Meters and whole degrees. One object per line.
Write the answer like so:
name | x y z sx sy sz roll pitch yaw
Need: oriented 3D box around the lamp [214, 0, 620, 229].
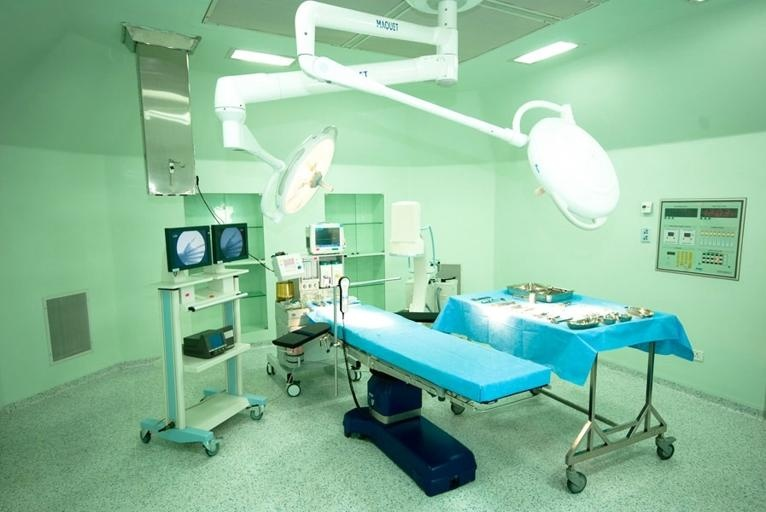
lamp | 0.219 -1.130 4.648 3.041 1.884 0.619 -2 6 -1

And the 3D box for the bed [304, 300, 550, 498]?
bed | 0.251 1.333 5.657 1.049 1.249 2.672 -4 10 -34

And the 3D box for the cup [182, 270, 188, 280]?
cup | -1.851 0.174 5.520 0.071 0.068 0.124 17 -3 -8

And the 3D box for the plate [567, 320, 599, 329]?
plate | 1.788 0.578 5.273 0.277 0.046 0.101 -5 17 -22

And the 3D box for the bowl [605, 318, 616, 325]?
bowl | 2.047 0.589 5.340 0.073 0.028 0.057 -1 6 -8

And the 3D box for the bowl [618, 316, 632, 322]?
bowl | 2.195 0.562 5.360 0.112 0.044 0.102 0 6 16

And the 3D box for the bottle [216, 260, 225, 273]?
bottle | -1.587 0.096 5.762 0.062 0.117 0.115 -4 1 17
